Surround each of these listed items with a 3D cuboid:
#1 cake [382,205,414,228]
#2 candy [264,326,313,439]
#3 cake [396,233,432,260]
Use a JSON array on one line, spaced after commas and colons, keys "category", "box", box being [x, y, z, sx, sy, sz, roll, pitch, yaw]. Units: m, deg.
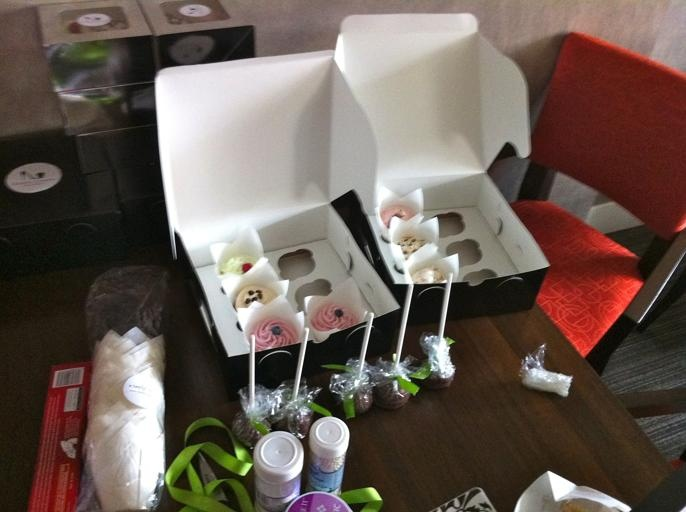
[{"category": "cake", "box": [0.145, -0.112, 1.407, 0.096, 0.023, 0.054, -14, 41, -14]}, {"category": "candy", "box": [-0.098, 0.221, 0.992, 0.082, 0.257, 0.118, 5, 39, 8]}, {"category": "cake", "box": [0.178, -0.029, 1.357, 0.056, 0.021, 0.063, -2, 38, -5]}]
